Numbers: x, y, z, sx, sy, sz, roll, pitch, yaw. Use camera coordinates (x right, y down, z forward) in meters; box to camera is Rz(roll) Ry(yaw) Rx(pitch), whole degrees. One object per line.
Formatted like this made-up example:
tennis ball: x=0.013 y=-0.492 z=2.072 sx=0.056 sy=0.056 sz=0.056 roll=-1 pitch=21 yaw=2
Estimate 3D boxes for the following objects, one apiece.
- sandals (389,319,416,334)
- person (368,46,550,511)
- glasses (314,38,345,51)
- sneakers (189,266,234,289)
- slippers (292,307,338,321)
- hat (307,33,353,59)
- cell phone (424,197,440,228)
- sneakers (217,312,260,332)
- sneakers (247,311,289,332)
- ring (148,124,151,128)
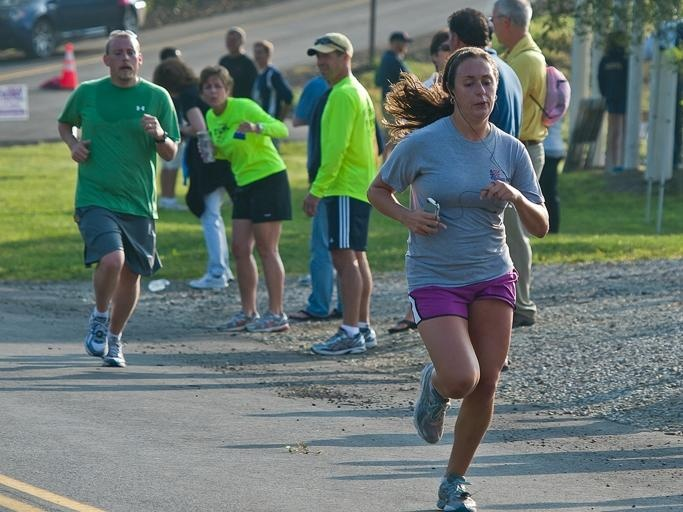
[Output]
sandals: x=0.576 y=0.719 z=15.589 sx=0.385 sy=0.097 sz=0.133 roll=-5 pitch=8 yaw=-18
person: x=0.956 y=0.172 z=11.984 sx=1.280 sy=3.600 sz=0.662 roll=-2 pitch=4 yaw=2
glasses: x=-0.080 y=-2.056 z=14.757 sx=0.218 sy=0.098 sz=0.157 roll=0 pitch=3 yaw=-25
sneakers: x=-1.469 y=0.275 z=17.494 sx=0.550 sy=0.210 sz=0.192 roll=2 pitch=4 yaw=-11
slippers: x=-0.266 y=0.647 z=16.177 sx=0.485 sy=0.169 sz=0.170 roll=4 pitch=3 yaw=-2
hat: x=-0.090 y=-2.047 z=14.803 sx=0.371 sy=0.177 sz=0.252 roll=6 pitch=2 yaw=-20
cell phone: x=0.720 y=-0.331 z=11.888 sx=0.085 sy=0.219 sz=0.176 roll=-25 pitch=35 yaw=-37
sneakers: x=-1.060 y=0.647 z=15.632 sx=0.490 sy=0.188 sz=0.172 roll=-7 pitch=11 yaw=-11
sneakers: x=-0.726 y=0.676 z=15.615 sx=0.473 sy=0.195 sz=0.172 roll=-2 pitch=5 yaw=-13
ring: x=-1.748 y=-1.172 z=13.785 sx=0.049 sy=0.043 sz=0.011 roll=-2 pitch=4 yaw=-1
